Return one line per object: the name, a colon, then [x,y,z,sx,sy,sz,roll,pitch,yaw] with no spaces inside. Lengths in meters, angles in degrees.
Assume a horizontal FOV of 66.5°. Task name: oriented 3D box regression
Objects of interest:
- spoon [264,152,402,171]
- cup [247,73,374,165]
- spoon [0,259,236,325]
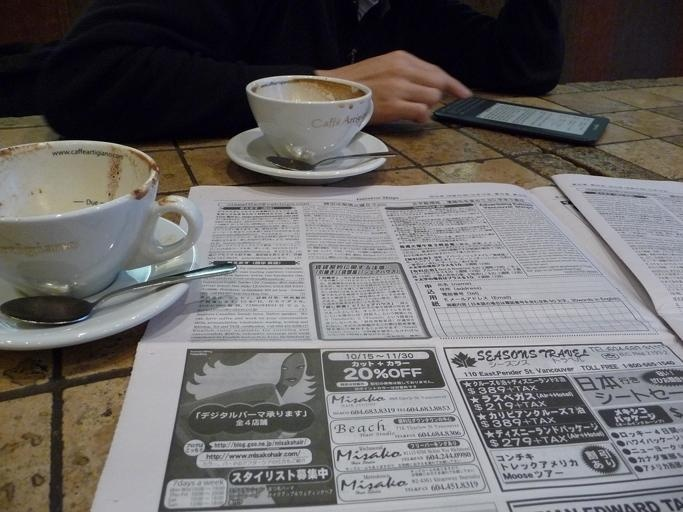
spoon: [-0.020,-0.124,0.682,0.178,0.019,0.034,-3,36,-10]
cup: [-0.034,-0.184,0.698,0.182,0.083,0.139,-26,43,-34]
spoon: [-0.159,0.029,0.460,0.238,0.030,0.049,-2,32,-19]
